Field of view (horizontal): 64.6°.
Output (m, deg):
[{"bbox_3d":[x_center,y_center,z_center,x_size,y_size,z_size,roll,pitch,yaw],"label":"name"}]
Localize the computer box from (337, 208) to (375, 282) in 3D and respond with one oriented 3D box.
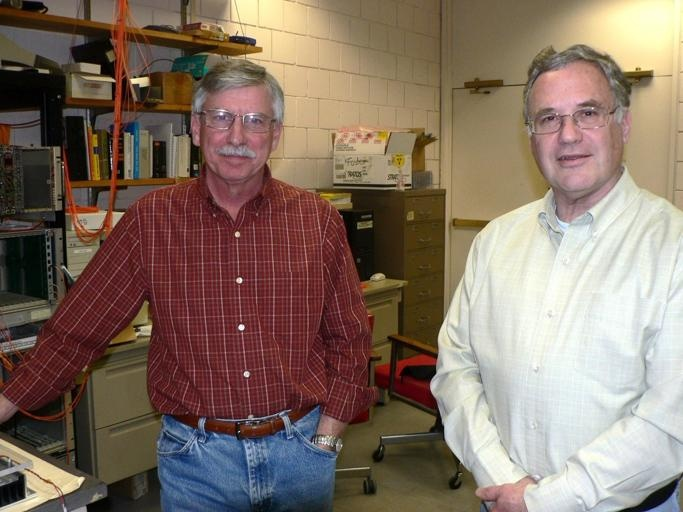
[{"bbox_3d":[0.081,-0.100,4.523,0.267,0.572,0.321,-11,20,-37],"label":"computer box"}]
